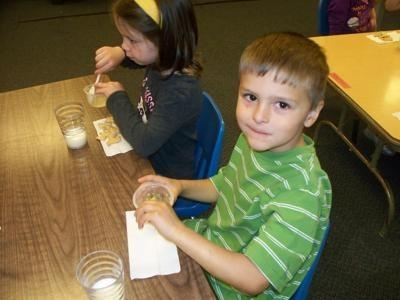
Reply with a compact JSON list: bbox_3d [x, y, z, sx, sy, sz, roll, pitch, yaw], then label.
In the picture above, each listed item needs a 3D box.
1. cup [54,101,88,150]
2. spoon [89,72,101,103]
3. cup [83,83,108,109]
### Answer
[{"bbox_3d":[-0.584,-0.101,1.396,0.136,0.224,0.139,-3,11,1],"label":"cup"},{"bbox_3d":[-0.574,-0.367,1.633,0.040,0.030,0.214,4,78,21],"label":"spoon"},{"bbox_3d":[-0.569,-0.284,1.614,0.100,0.087,0.122,-14,37,-1],"label":"cup"}]
